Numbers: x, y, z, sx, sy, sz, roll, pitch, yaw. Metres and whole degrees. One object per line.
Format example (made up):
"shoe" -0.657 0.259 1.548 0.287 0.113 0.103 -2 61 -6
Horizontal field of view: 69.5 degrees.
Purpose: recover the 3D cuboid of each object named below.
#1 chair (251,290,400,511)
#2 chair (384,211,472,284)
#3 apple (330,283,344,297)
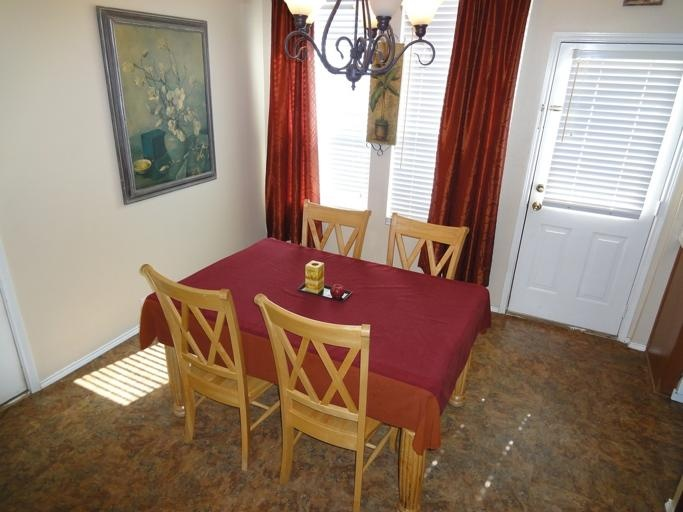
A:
"chair" -0.091 0.899 3.074 0.630 1.342 0.742 12 37 21
"chair" 0.780 -0.066 4.198 0.337 0.688 0.394 15 31 26
"apple" -0.016 0.233 3.363 0.068 0.085 0.076 -1 16 -9
